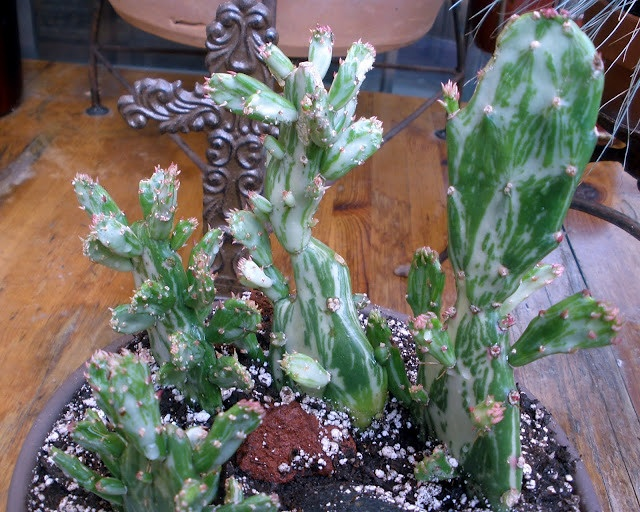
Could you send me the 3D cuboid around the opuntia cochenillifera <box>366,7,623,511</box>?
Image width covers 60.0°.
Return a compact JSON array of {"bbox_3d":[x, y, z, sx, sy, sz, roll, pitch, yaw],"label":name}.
[{"bbox_3d":[0.210,0.021,0.594,0.152,0.461,0.274,-19,51,-33],"label":"opuntia cochenillifera"}]
